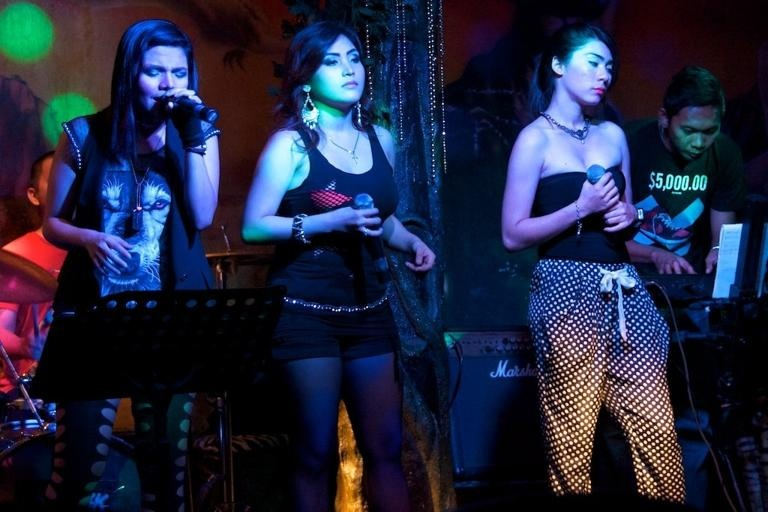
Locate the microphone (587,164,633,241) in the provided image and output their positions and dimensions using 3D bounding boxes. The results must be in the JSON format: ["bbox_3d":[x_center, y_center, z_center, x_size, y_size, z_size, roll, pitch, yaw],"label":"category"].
[{"bbox_3d":[1.080,-0.251,3.373,0.277,0.366,0.149,1,-6,-11],"label":"microphone"}]

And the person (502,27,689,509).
[{"bbox_3d":[1.015,-0.007,3.448,0.836,2.341,0.454,0,-2,19],"label":"person"}]

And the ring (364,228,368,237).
[{"bbox_3d":[-0.077,-0.102,2.929,0.024,0.024,0.008,-4,-7,-1],"label":"ring"}]

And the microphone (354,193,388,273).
[{"bbox_3d":[-0.033,-0.060,3.013,0.108,0.396,0.102,-13,22,4],"label":"microphone"}]

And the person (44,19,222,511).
[{"bbox_3d":[-1.084,0.051,2.986,0.733,2.182,0.489,1,-2,-20],"label":"person"}]

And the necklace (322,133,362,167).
[{"bbox_3d":[-0.189,-0.486,3.150,0.039,0.153,0.163,-41,-20,34],"label":"necklace"}]

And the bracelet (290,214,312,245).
[{"bbox_3d":[-0.376,-0.118,2.995,0.075,0.117,0.112,-1,-26,17],"label":"bracelet"}]

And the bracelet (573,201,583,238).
[{"bbox_3d":[0.934,-0.175,3.359,0.038,0.135,0.105,0,6,11],"label":"bracelet"}]
